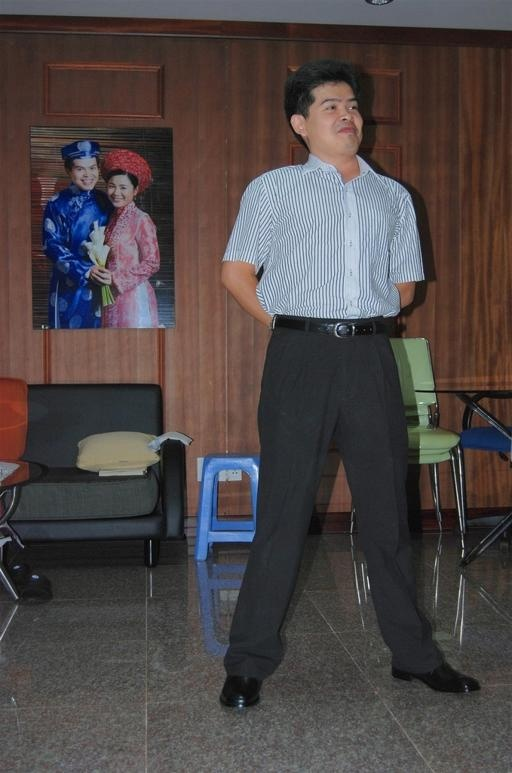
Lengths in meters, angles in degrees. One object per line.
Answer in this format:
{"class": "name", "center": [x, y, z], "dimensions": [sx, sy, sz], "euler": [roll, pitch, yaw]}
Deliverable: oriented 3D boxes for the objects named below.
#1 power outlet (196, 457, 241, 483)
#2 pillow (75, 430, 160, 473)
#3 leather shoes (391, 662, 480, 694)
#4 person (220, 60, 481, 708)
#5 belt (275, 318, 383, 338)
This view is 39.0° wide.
{"class": "power outlet", "center": [-0.181, 0.433, 3.570], "dimensions": [0.174, 0.151, 0.121], "euler": [-1, 3, 1]}
{"class": "pillow", "center": [-0.582, 0.286, 3.034], "dimensions": [0.215, 0.071, 0.225], "euler": [-3, 13, -3]}
{"class": "leather shoes", "center": [0.463, 0.723, 1.841], "dimensions": [0.230, 0.083, 0.076], "euler": [-2, -8, 16]}
{"class": "person", "center": [0.209, -0.024, 1.832], "dimensions": [0.604, 1.566, 0.256], "euler": [0, 1, -3]}
{"class": "belt", "center": [0.183, -0.143, 1.763], "dimensions": [0.283, 0.059, 0.114], "euler": [0, 1, 1]}
